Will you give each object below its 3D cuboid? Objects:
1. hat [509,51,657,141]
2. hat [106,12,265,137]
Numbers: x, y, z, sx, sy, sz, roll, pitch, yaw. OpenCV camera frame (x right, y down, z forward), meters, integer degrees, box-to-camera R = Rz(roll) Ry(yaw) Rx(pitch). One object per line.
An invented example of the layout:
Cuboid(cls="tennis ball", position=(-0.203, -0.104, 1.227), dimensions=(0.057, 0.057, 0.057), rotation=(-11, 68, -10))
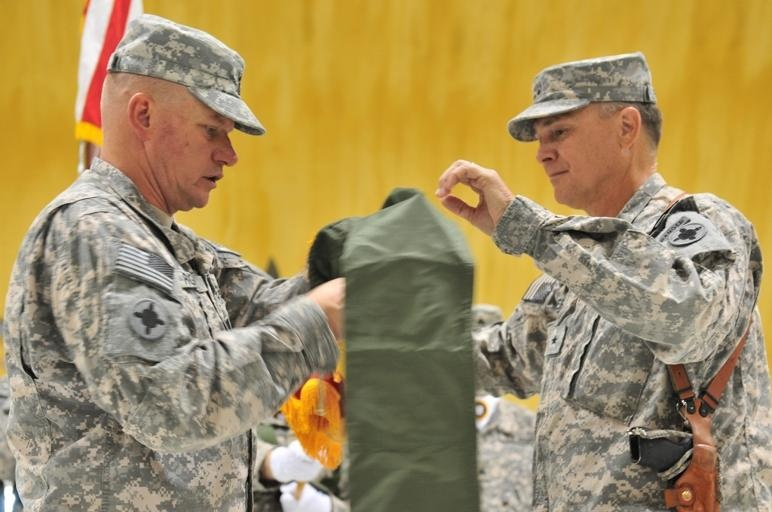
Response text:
Cuboid(cls="hat", position=(0.926, -0.742, 8.550), dimensions=(0.571, 0.236, 0.405), rotation=(-2, -4, 8))
Cuboid(cls="hat", position=(-0.911, -0.806, 8.181), dimensions=(0.704, 0.314, 0.429), rotation=(20, 4, -11))
